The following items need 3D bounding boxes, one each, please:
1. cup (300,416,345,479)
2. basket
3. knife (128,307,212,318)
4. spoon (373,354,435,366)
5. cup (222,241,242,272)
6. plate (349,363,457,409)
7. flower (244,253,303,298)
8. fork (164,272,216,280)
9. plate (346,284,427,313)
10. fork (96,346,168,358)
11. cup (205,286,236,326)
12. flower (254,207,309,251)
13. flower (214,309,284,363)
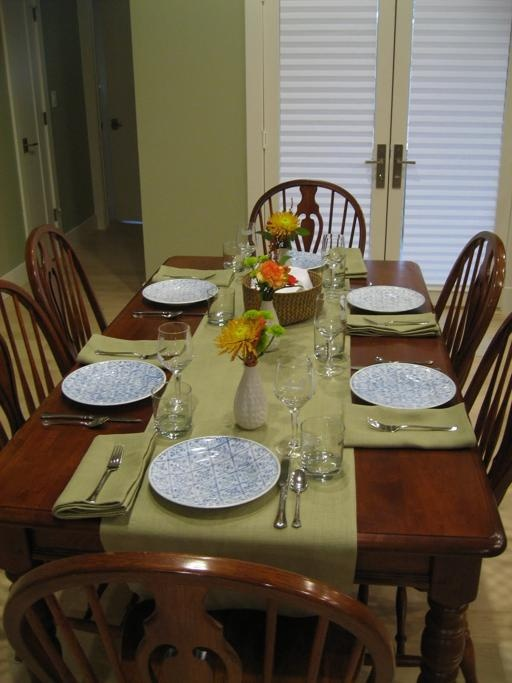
[{"bbox_3d":[0.111,0.175,0.877,0.096,0.104,0.088,-2,23,1],"label":"cup"},{"bbox_3d":[0.069,-0.116,1.378,0.161,0.076,0.203,1,15,6],"label":"basket"},{"bbox_3d":[-0.276,-0.097,1.686,0.197,0.020,0.035,1,46,6],"label":"knife"},{"bbox_3d":[0.375,0.045,1.323,0.151,0.024,0.021,2,-5,-2],"label":"spoon"},{"bbox_3d":[-0.080,-0.286,1.758,0.079,0.094,0.086,2,32,-1],"label":"cup"},{"bbox_3d":[0.327,0.098,1.186,0.127,0.023,0.128,3,26,6],"label":"plate"},{"bbox_3d":[0.029,-0.150,1.206,0.155,0.083,0.140,-12,25,-42],"label":"flower"},{"bbox_3d":[-0.249,-0.250,1.960,0.158,0.018,0.024,5,-24,-4],"label":"fork"},{"bbox_3d":[0.428,-0.143,1.715,0.142,0.025,0.140,4,27,5],"label":"plate"},{"bbox_3d":[-0.318,0.026,1.321,0.121,0.018,0.016,4,33,1],"label":"fork"},{"bbox_3d":[-0.090,-0.123,1.638,0.111,0.130,0.120,1,24,0],"label":"cup"},{"bbox_3d":[0.078,-0.359,1.644,0.146,0.100,0.141,5,18,14],"label":"flower"},{"bbox_3d":[-0.015,0.009,0.934,0.104,0.049,0.111,-27,-30,35],"label":"flower"}]
